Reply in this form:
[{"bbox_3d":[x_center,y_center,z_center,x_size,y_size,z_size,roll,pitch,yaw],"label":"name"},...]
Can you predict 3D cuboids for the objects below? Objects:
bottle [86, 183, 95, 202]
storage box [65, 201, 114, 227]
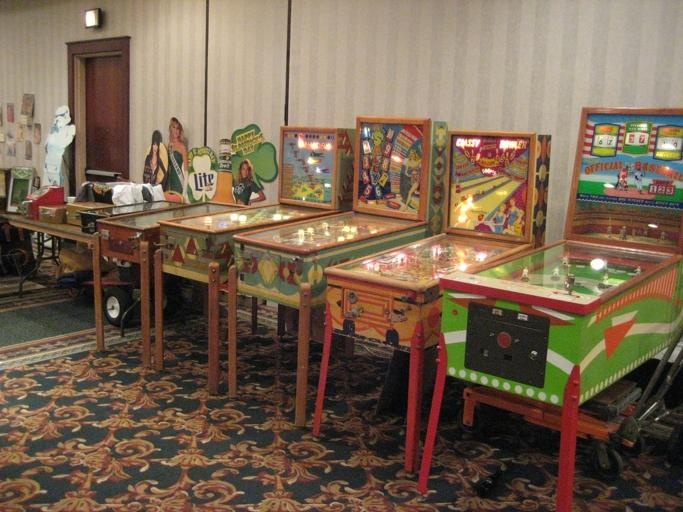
[{"bbox_3d":[-2.612,-0.653,5.573,0.100,0.186,0.028,8,17,24],"label":"bottle"},{"bbox_3d":[-2.597,-0.445,5.402,0.495,0.197,0.309,6,9,28],"label":"storage box"}]
